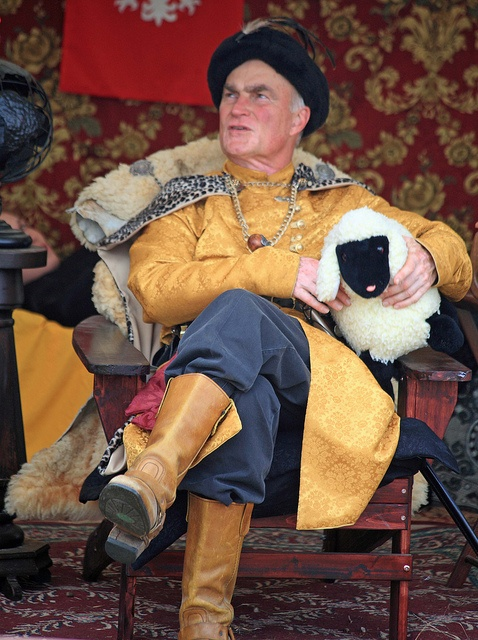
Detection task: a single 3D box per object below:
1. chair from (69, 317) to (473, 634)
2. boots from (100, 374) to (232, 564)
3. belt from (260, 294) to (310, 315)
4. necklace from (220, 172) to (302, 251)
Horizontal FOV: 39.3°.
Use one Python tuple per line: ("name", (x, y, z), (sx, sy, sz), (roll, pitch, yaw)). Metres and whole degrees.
("chair", (0.067, 0.325, 1.466), (0.883, 0.478, 0.618), (0, 16, 0))
("boots", (-0.105, 0.209, 1.050), (0.153, 0.120, 0.320), (16, 43, 20))
("belt", (0.103, -0.044, 1.520), (0.070, 0.046, 0.046), (-15, 32, -13))
("necklace", (0.052, -0.280, 1.728), (0.224, 0.062, 0.230), (4, 51, -4))
